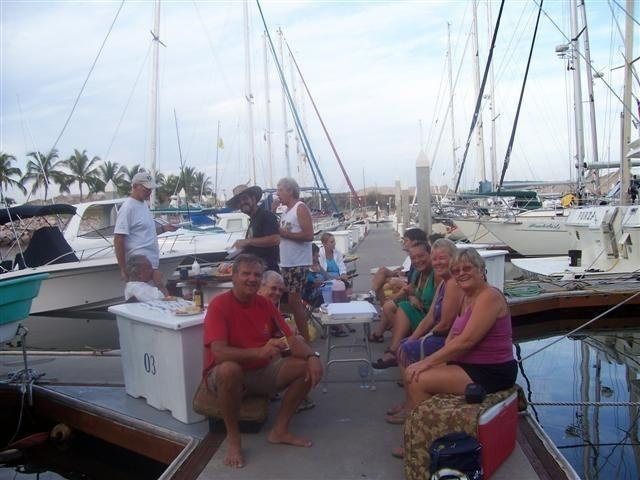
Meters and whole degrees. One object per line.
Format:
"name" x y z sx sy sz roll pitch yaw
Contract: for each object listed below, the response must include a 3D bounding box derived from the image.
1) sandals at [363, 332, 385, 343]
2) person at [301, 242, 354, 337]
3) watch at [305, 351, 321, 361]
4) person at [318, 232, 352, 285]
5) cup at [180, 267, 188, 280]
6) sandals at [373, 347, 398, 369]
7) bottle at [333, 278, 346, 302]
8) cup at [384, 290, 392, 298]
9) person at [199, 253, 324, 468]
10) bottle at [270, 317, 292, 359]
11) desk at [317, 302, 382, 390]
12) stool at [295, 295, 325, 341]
"sandals" 0.708 1.237 6.922 0.159 0.150 0.338 -4 -13 20
"person" 0.175 0.652 7.953 0.768 1.542 0.598 10 10 41
"watch" -0.071 1.001 4.767 0.096 0.073 0.106 -3 0 32
"person" 0.185 0.328 8.514 0.435 0.775 0.661 -6 15 -26
"cup" -1.836 0.453 7.383 0.115 0.122 0.217 7 -18 -2
"sandals" 0.649 1.293 5.948 0.417 0.195 0.149 -2 1 -1
"bottle" 0.228 0.626 6.512 0.156 0.231 0.334 -1 9 -1
"cup" 0.910 0.727 7.330 0.078 0.089 0.085 -2 2 0
"person" -0.511 0.939 4.634 0.942 1.592 0.687 -4 9 -17
"bottle" -0.350 0.879 4.890 0.175 0.337 0.095 0 -12 -15
"desk" 0.316 1.083 5.989 0.688 0.980 0.825 -1 2 3
"stool" -0.082 1.069 7.173 0.444 0.681 0.389 -6 7 -2
